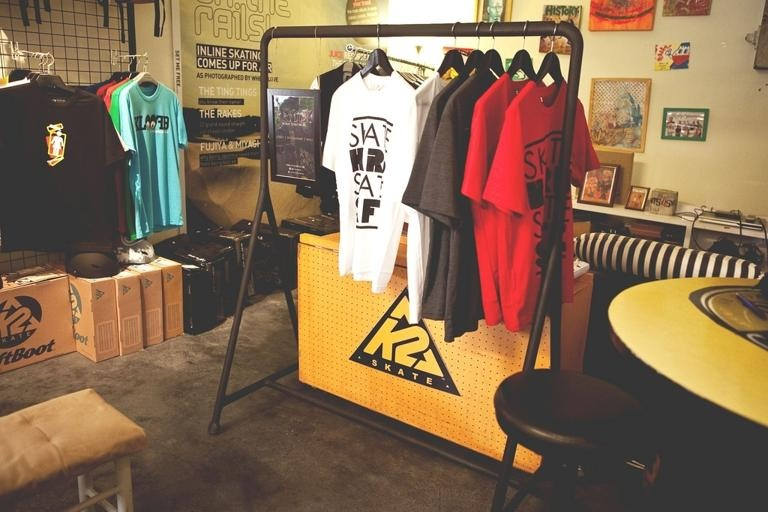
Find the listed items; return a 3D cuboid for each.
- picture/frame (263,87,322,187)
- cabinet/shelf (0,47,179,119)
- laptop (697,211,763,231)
[{"bbox_3d":[-0.559,-0.728,3.316,0.510,0.726,0.027,11,21,25],"label":"picture/frame"},{"bbox_3d":[-2.186,-1.374,4.267,1.348,0.417,0.718,-14,27,-35],"label":"cabinet/shelf"},{"bbox_3d":[3.285,-0.326,5.044,0.565,0.094,0.296,16,25,29],"label":"laptop"}]
